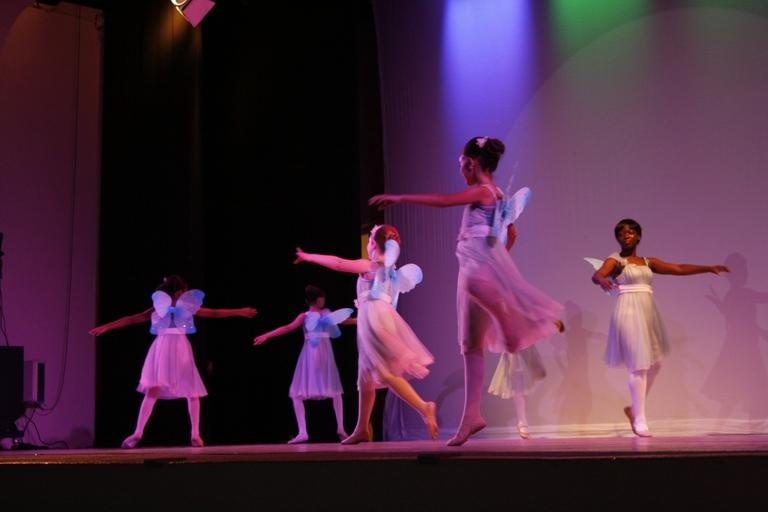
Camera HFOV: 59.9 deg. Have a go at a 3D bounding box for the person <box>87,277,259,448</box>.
[{"bbox_3d":[-1.800,0.873,5.588,0.965,1.439,0.369,1,-8,-17],"label":"person"}]

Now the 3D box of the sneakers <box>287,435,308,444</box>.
[{"bbox_3d":[-0.742,1.600,5.731,0.195,0.085,0.069,1,-11,6],"label":"sneakers"}]

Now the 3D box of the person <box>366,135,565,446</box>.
[{"bbox_3d":[0.628,0.191,4.247,0.938,1.975,1.075,-5,-9,22],"label":"person"}]

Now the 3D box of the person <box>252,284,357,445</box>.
[{"bbox_3d":[-0.711,1.040,5.938,1.193,1.491,0.610,1,-9,-14],"label":"person"}]

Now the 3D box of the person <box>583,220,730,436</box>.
[{"bbox_3d":[2.062,0.547,5.368,1.107,1.747,0.518,4,-9,-29],"label":"person"}]

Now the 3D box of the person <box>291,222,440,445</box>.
[{"bbox_3d":[-0.154,0.565,4.915,1.022,1.607,0.918,-9,-16,33],"label":"person"}]

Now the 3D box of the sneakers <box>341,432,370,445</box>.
[{"bbox_3d":[-0.214,1.309,4.760,0.192,0.084,0.299,-5,-11,20],"label":"sneakers"}]
